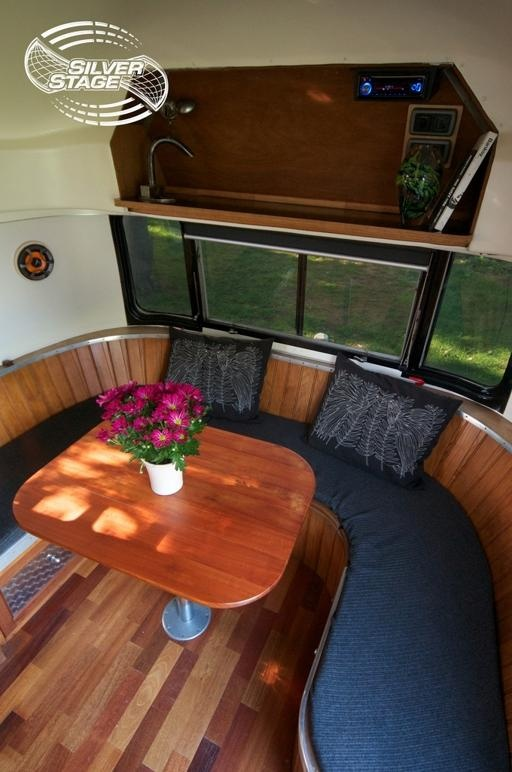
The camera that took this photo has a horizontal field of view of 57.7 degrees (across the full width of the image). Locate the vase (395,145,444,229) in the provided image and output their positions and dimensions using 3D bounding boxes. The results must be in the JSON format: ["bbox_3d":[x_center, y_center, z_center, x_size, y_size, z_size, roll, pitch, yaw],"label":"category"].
[{"bbox_3d":[0.535,-0.667,1.560,0.129,0.258,0.097,3,39,1],"label":"vase"}]

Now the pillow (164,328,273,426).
[{"bbox_3d":[-0.196,-0.020,2.437,0.605,0.430,0.162,7,-4,22],"label":"pillow"}]

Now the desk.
[{"bbox_3d":[-0.275,0.679,1.947,1.019,0.733,0.763,22,46,21],"label":"desk"}]

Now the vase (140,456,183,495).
[{"bbox_3d":[-0.313,0.323,1.622,0.151,0.107,0.132,-1,39,-4],"label":"vase"}]
